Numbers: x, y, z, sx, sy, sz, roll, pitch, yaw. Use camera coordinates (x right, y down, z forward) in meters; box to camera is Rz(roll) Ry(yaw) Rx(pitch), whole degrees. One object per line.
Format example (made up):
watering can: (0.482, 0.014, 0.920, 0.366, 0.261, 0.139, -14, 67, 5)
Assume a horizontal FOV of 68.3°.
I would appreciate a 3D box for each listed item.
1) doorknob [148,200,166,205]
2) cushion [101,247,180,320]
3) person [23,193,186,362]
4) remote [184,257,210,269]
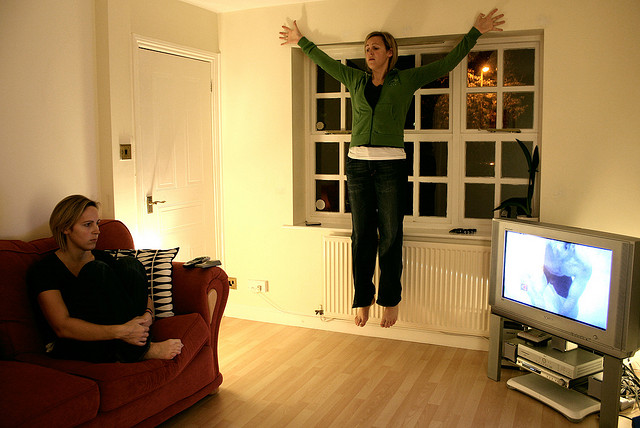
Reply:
doorknob: (-1.495, -0.109, 4.359, 0.021, 0.035, 0.178, 10, 18, 38)
cushion: (-1.299, 0.462, 3.527, 0.741, 0.600, 0.383, -1, 3, -21)
person: (-1.474, 0.437, 3.312, 1.011, 1.113, 0.728, -2, 3, 7)
remote: (-0.941, 0.357, 3.624, 0.188, 0.062, 0.068, -25, 22, -30)
